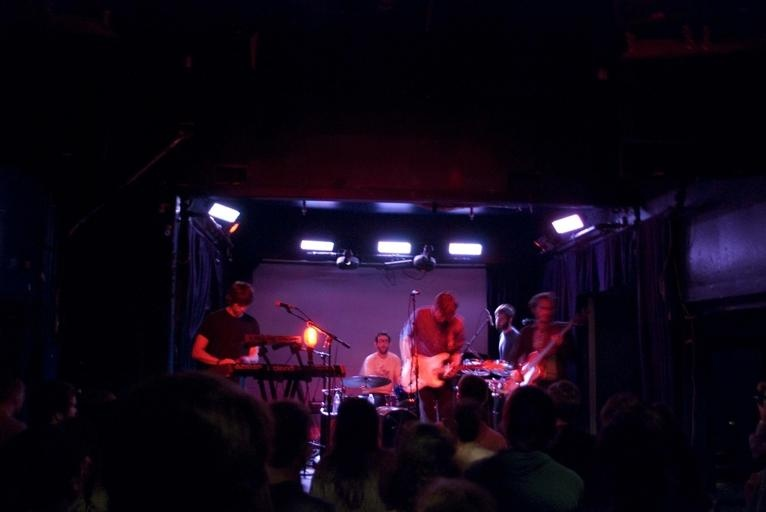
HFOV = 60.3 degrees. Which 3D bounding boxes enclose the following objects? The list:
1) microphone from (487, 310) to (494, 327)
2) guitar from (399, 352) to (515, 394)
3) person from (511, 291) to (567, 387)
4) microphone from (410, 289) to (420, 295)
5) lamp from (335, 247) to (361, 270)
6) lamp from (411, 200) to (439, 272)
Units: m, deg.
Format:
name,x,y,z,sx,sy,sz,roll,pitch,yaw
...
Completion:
name,x,y,z,sx,sy,sz,roll,pitch,yaw
microphone,1.702,0.978,10.470,0.091,0.066,0.297,-3,-46,20
guitar,0.833,1.317,7.509,0.917,0.154,0.358,7,-45,-16
person,1.911,0.997,7.834,0.165,1.139,0.529,9,6,-45
microphone,0.384,0.399,7.907,0.093,0.060,0.133,3,-7,10
lamp,-0.525,0.001,9.999,0.298,0.146,0.407,1,-10,3
lamp,0.674,-0.208,9.896,0.387,1.036,0.507,11,-6,-3
